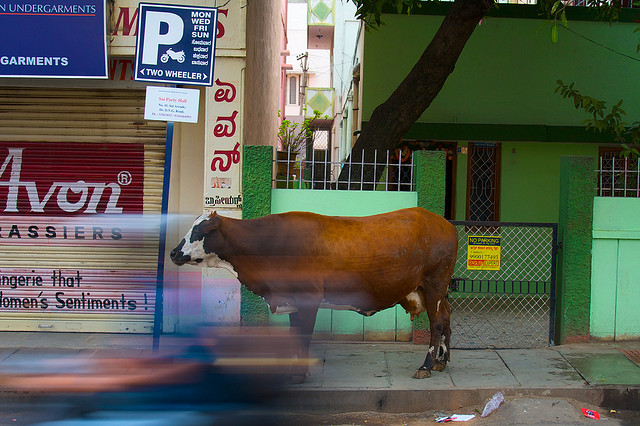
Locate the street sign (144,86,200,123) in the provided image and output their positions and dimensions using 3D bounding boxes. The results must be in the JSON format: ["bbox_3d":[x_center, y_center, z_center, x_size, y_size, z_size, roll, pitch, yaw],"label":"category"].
[{"bbox_3d":[-2.356,-1.752,11.306,0.702,0.466,0.019,3,2,-6],"label":"street sign"}]

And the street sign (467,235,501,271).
[{"bbox_3d":[2.816,0.655,12.080,0.564,0.532,0.059,0,-3,-1],"label":"street sign"}]

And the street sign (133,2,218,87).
[{"bbox_3d":[-2.318,-2.736,11.420,1.439,1.478,0.104,4,-8,-7],"label":"street sign"}]

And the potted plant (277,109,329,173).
[{"bbox_3d":[-0.660,-1.820,17.944,1.010,1.323,0.863,14,-1,16],"label":"potted plant"}]
